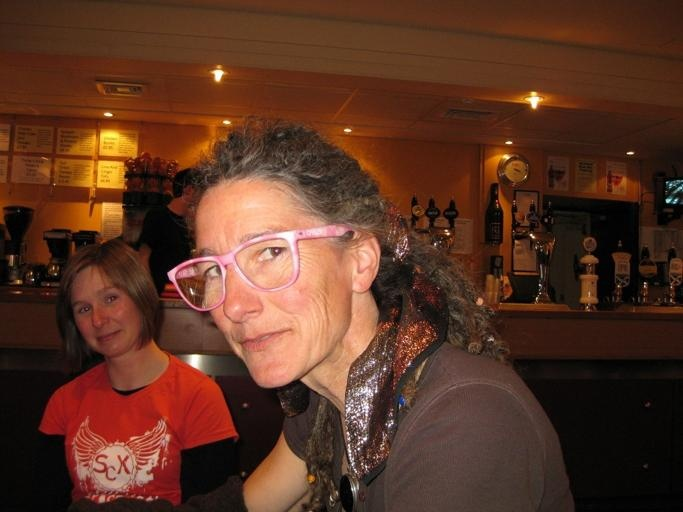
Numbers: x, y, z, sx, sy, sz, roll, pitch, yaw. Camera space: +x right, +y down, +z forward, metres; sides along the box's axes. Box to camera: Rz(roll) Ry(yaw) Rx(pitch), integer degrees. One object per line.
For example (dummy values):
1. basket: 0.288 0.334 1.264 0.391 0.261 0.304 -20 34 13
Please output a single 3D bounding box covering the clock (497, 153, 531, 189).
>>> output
1. clock: 1.930 -0.941 7.248 0.356 0.350 0.082 2 -1 -10
